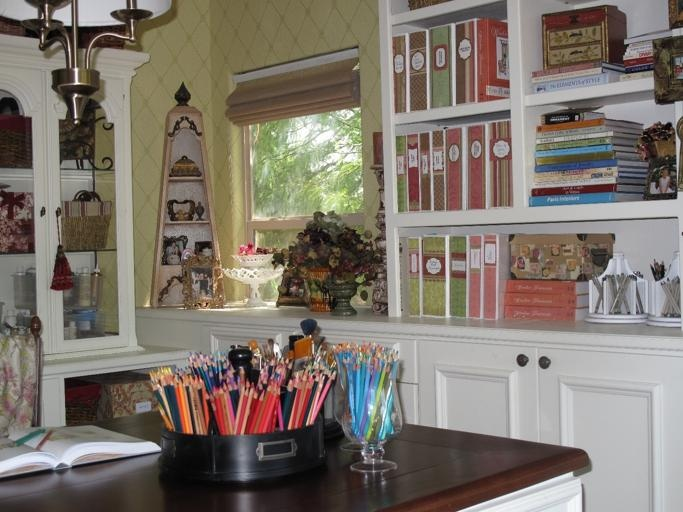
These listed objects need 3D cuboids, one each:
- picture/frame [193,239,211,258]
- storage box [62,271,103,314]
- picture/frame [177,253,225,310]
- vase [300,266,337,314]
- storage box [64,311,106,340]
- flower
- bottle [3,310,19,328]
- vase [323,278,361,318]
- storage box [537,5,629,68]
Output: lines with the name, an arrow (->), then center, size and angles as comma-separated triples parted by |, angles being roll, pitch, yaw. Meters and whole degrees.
picture/frame -> -0.916, -0.047, 4.164 | 0.111, 0.120, 0.040 | 1, -1, -19
storage box -> -1.320, 0.189, 3.212 | 0.163, 0.177, 0.170 | -1, 5, -37
picture/frame -> -0.873, 0.173, 3.921 | 0.306, 0.457, 0.038 | 1, -11, -24
vase -> -0.124, 0.193, 3.351 | 0.192, 0.214, 0.209 | 0, -1, -12
storage box -> -1.309, 0.350, 3.213 | 0.130, 0.098, 0.135 | 1, 1, 40
flower -> -0.095, 0.082, 3.419 | 0.531, 0.550, 0.546 | 3, -7, -21
bottle -> -1.593, 0.299, 3.026 | 0.069, 0.103, 0.054 | 0, 2, -19
vase -> 0.013, 0.224, 3.273 | 0.175, 0.158, 0.181 | -1, -9, 2
storage box -> 0.999, -0.897, 2.582 | 0.312, 0.241, 0.172 | 1, 5, 19
